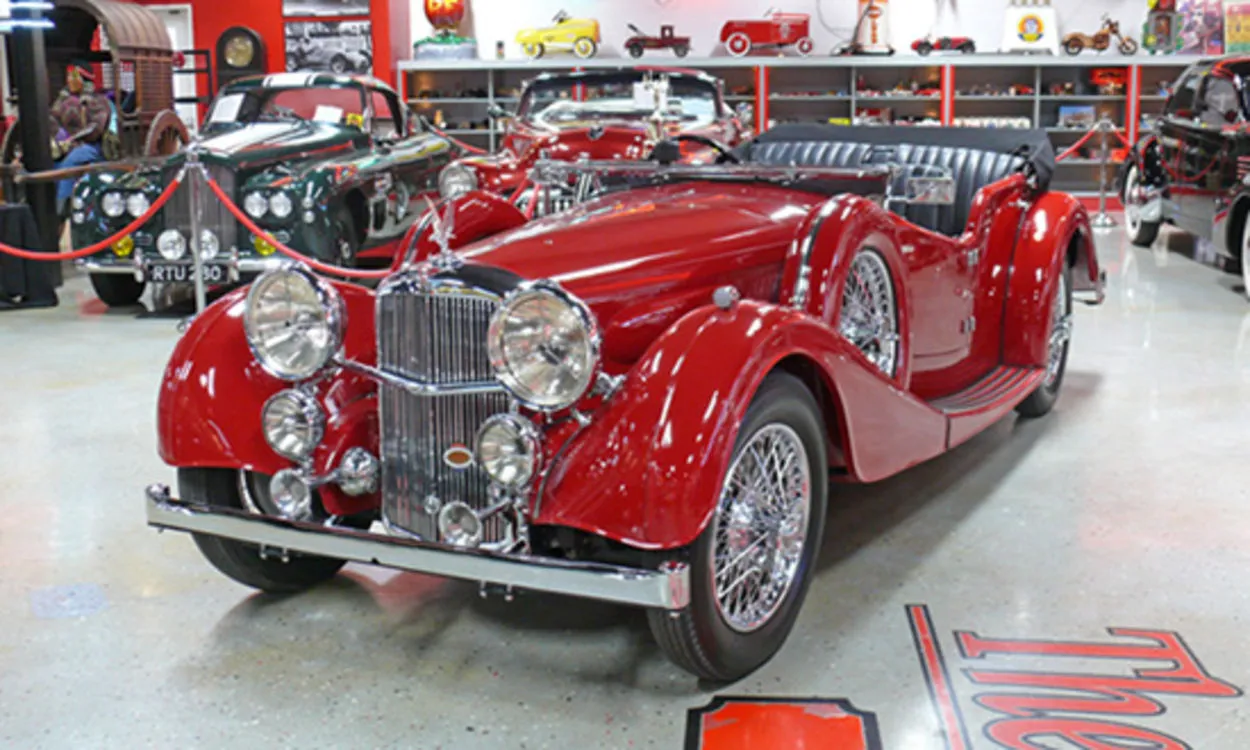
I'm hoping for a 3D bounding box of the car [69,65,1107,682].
[{"bbox_3d":[0.656,0.024,4.453,2.200,1.441,4.334,2,10,38],"label":"car"}]
